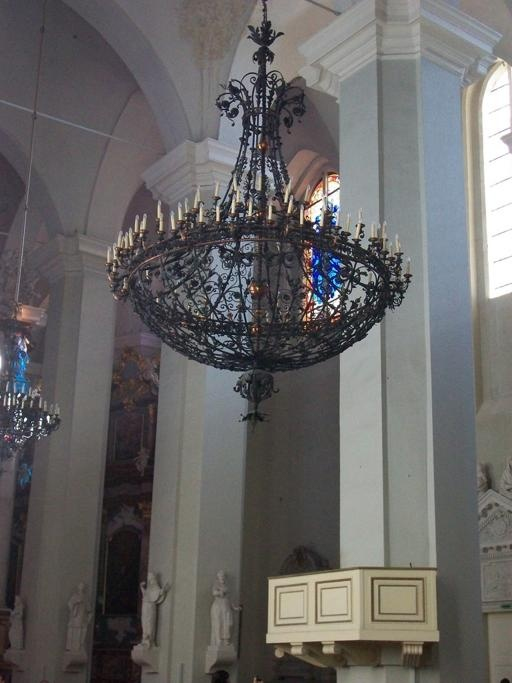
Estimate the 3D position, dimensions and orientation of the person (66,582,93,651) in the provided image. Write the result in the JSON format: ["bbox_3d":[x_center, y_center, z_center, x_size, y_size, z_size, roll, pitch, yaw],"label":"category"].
[{"bbox_3d":[-1.879,2.944,9.120,0.256,0.708,0.168,4,-20,-15],"label":"person"}]
